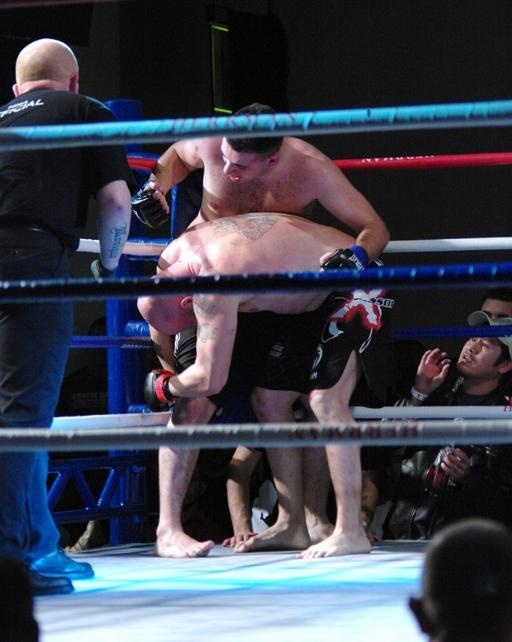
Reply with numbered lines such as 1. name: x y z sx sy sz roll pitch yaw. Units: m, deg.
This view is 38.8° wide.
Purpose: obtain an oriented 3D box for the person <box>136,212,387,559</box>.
1. person: 0.016 0.158 1.930 0.710 0.925 0.490 -4 -5 8

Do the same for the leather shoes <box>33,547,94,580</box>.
1. leather shoes: -0.401 0.512 1.529 0.144 0.051 0.044 15 16 -32

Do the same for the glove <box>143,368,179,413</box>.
1. glove: -0.243 0.177 1.837 0.070 0.104 0.116 -2 -5 -9
